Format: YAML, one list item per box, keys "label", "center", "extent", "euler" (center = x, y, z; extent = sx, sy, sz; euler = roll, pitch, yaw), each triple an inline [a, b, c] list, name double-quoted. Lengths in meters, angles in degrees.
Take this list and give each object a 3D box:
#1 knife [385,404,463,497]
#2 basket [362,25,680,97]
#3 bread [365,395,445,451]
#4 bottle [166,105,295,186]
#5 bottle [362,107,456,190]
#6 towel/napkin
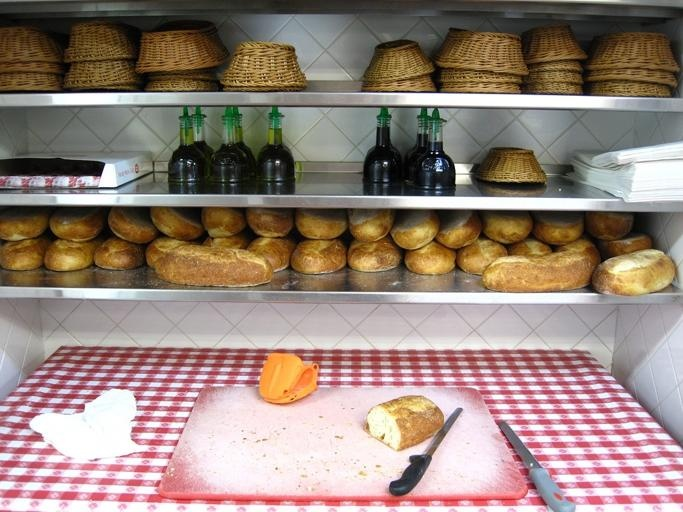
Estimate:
- label: "knife"
  center: [0.199, 0.455, 1.255]
  extent: [0.064, 0.016, 0.397]
  euler: [5, 7, 29]
- label: "basket"
  center: [0.488, -0.518, 1.435]
  extent: [0.872, 0.206, 0.305]
  euler: [-3, 19, 3]
- label: "bread"
  center: [0.155, 0.406, 1.321]
  extent: [0.126, 0.056, 0.158]
  euler: [25, 23, 38]
- label: "bottle"
  center: [-0.328, -0.328, 1.565]
  extent: [0.382, 0.187, 0.129]
  euler: [-5, 13, -28]
- label: "bottle"
  center: [0.195, -0.317, 1.549]
  extent: [0.399, 0.209, 0.137]
  euler: [4, 16, 20]
- label: "towel/napkin"
  center: [-0.631, 0.450, 1.354]
  extent: [0.176, 0.018, 0.179]
  euler: [-2, 16, -41]
